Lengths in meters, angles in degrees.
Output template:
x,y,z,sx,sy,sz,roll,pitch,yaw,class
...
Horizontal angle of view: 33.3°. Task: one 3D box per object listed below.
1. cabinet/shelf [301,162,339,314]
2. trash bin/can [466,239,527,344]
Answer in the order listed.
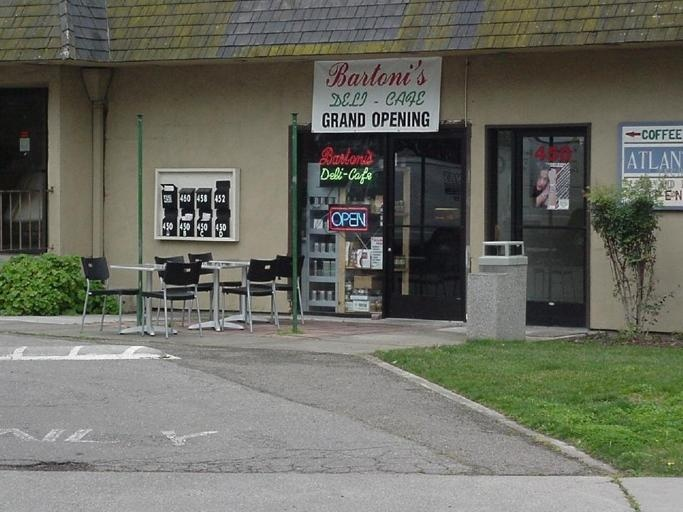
x,y,z,sx,sy,sz,roll,pitch,yaw,class
-0.392,-0.326,20.886,0.683,2.732,0.201,2,9,19,cabinet/shelf
2.413,0.539,17.510,0.491,1.505,0.821,-2,5,33,trash bin/can
